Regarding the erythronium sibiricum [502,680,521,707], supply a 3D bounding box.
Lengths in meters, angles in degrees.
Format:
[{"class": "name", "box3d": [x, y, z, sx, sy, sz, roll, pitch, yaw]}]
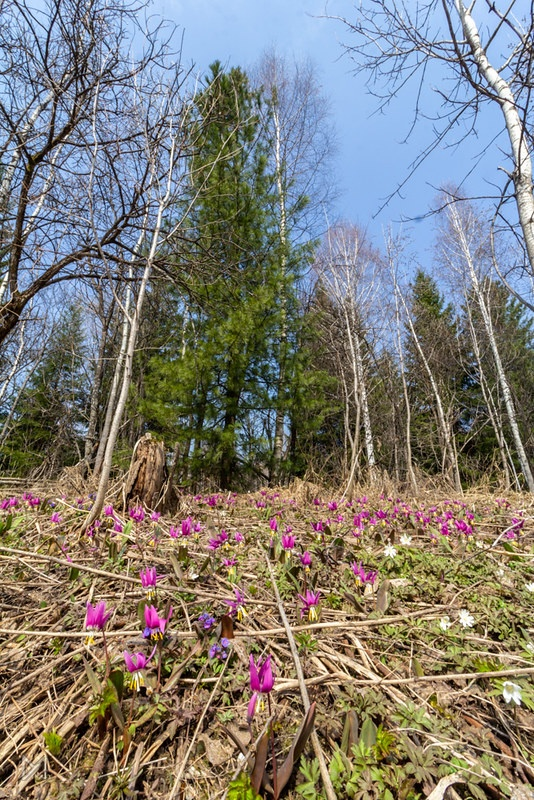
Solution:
[{"class": "erythronium sibiricum", "box3d": [0.756, 0.906, 1.453, 0.052, 0.084, 0.170, -4, -21, 26]}]
